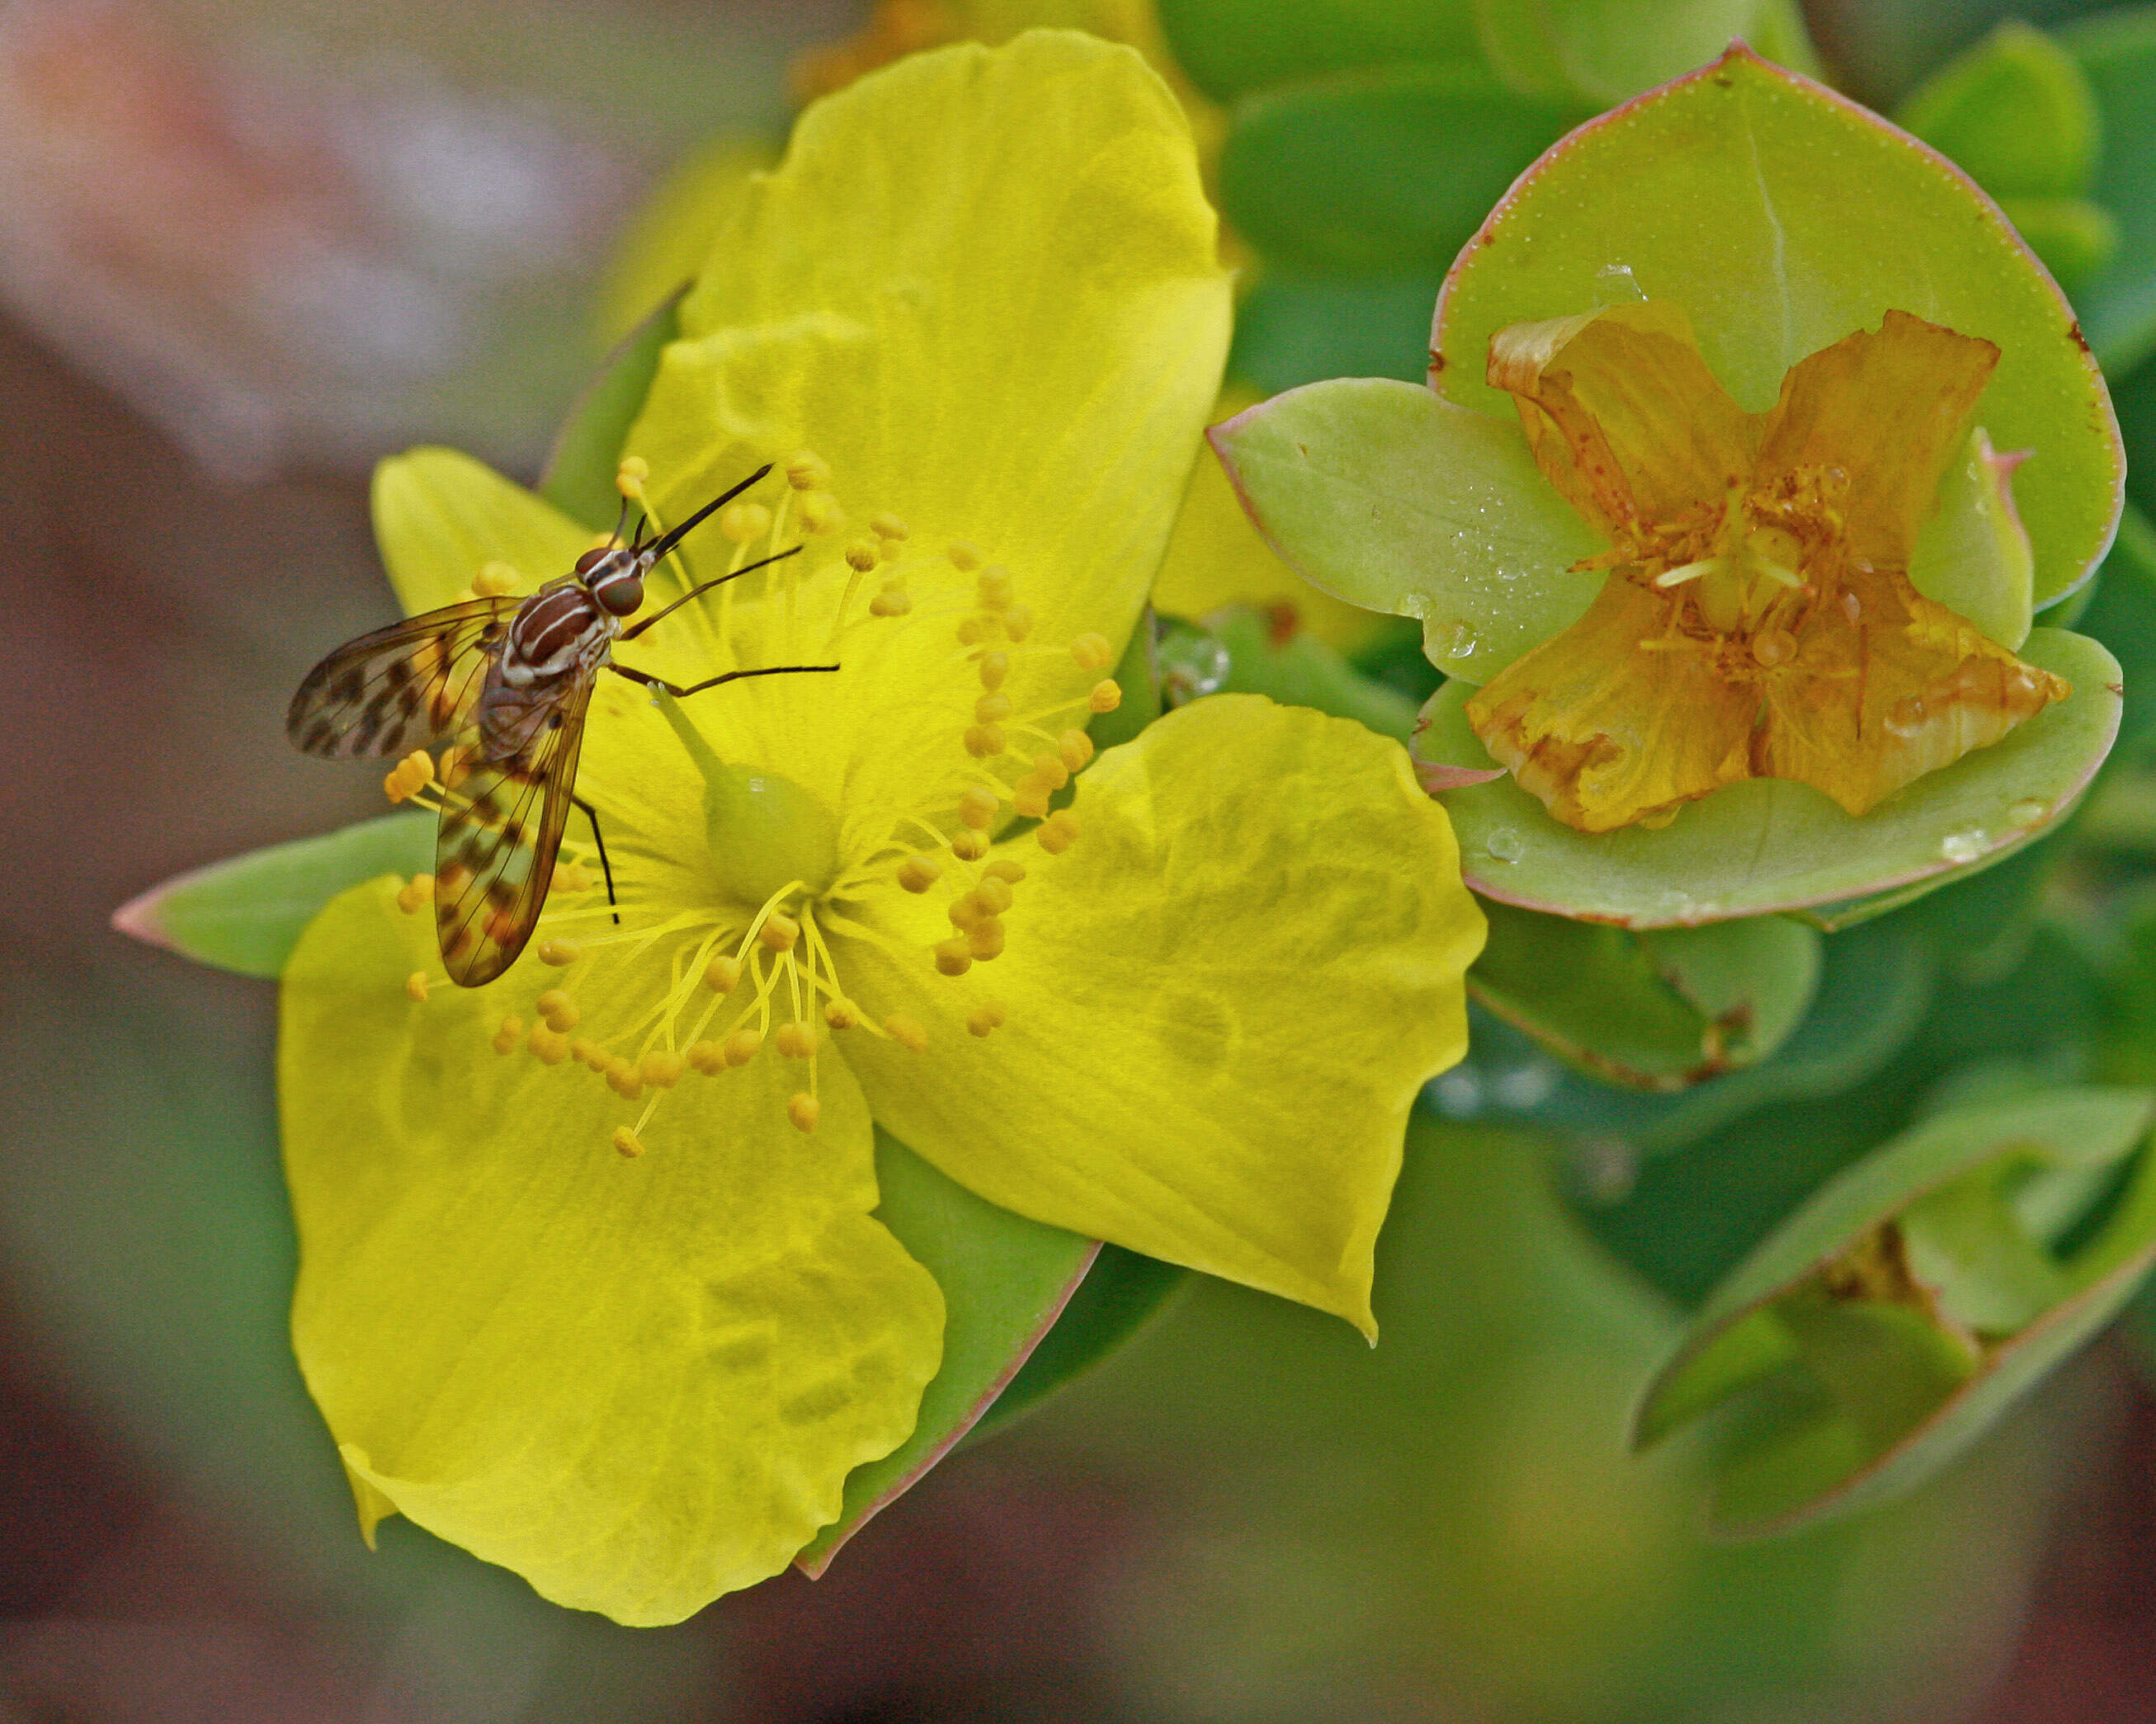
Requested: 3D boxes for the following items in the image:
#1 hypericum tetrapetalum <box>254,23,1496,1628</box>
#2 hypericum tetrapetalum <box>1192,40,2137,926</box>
[{"bbox_3d":[-0.108,-0.024,0.994,0.518,0.541,0.403,-5,34,-4],"label":"hypericum tetrapetalum"},{"bbox_3d":[0.239,-0.151,0.906,0.331,0.277,0.232,24,42,33],"label":"hypericum tetrapetalum"}]
